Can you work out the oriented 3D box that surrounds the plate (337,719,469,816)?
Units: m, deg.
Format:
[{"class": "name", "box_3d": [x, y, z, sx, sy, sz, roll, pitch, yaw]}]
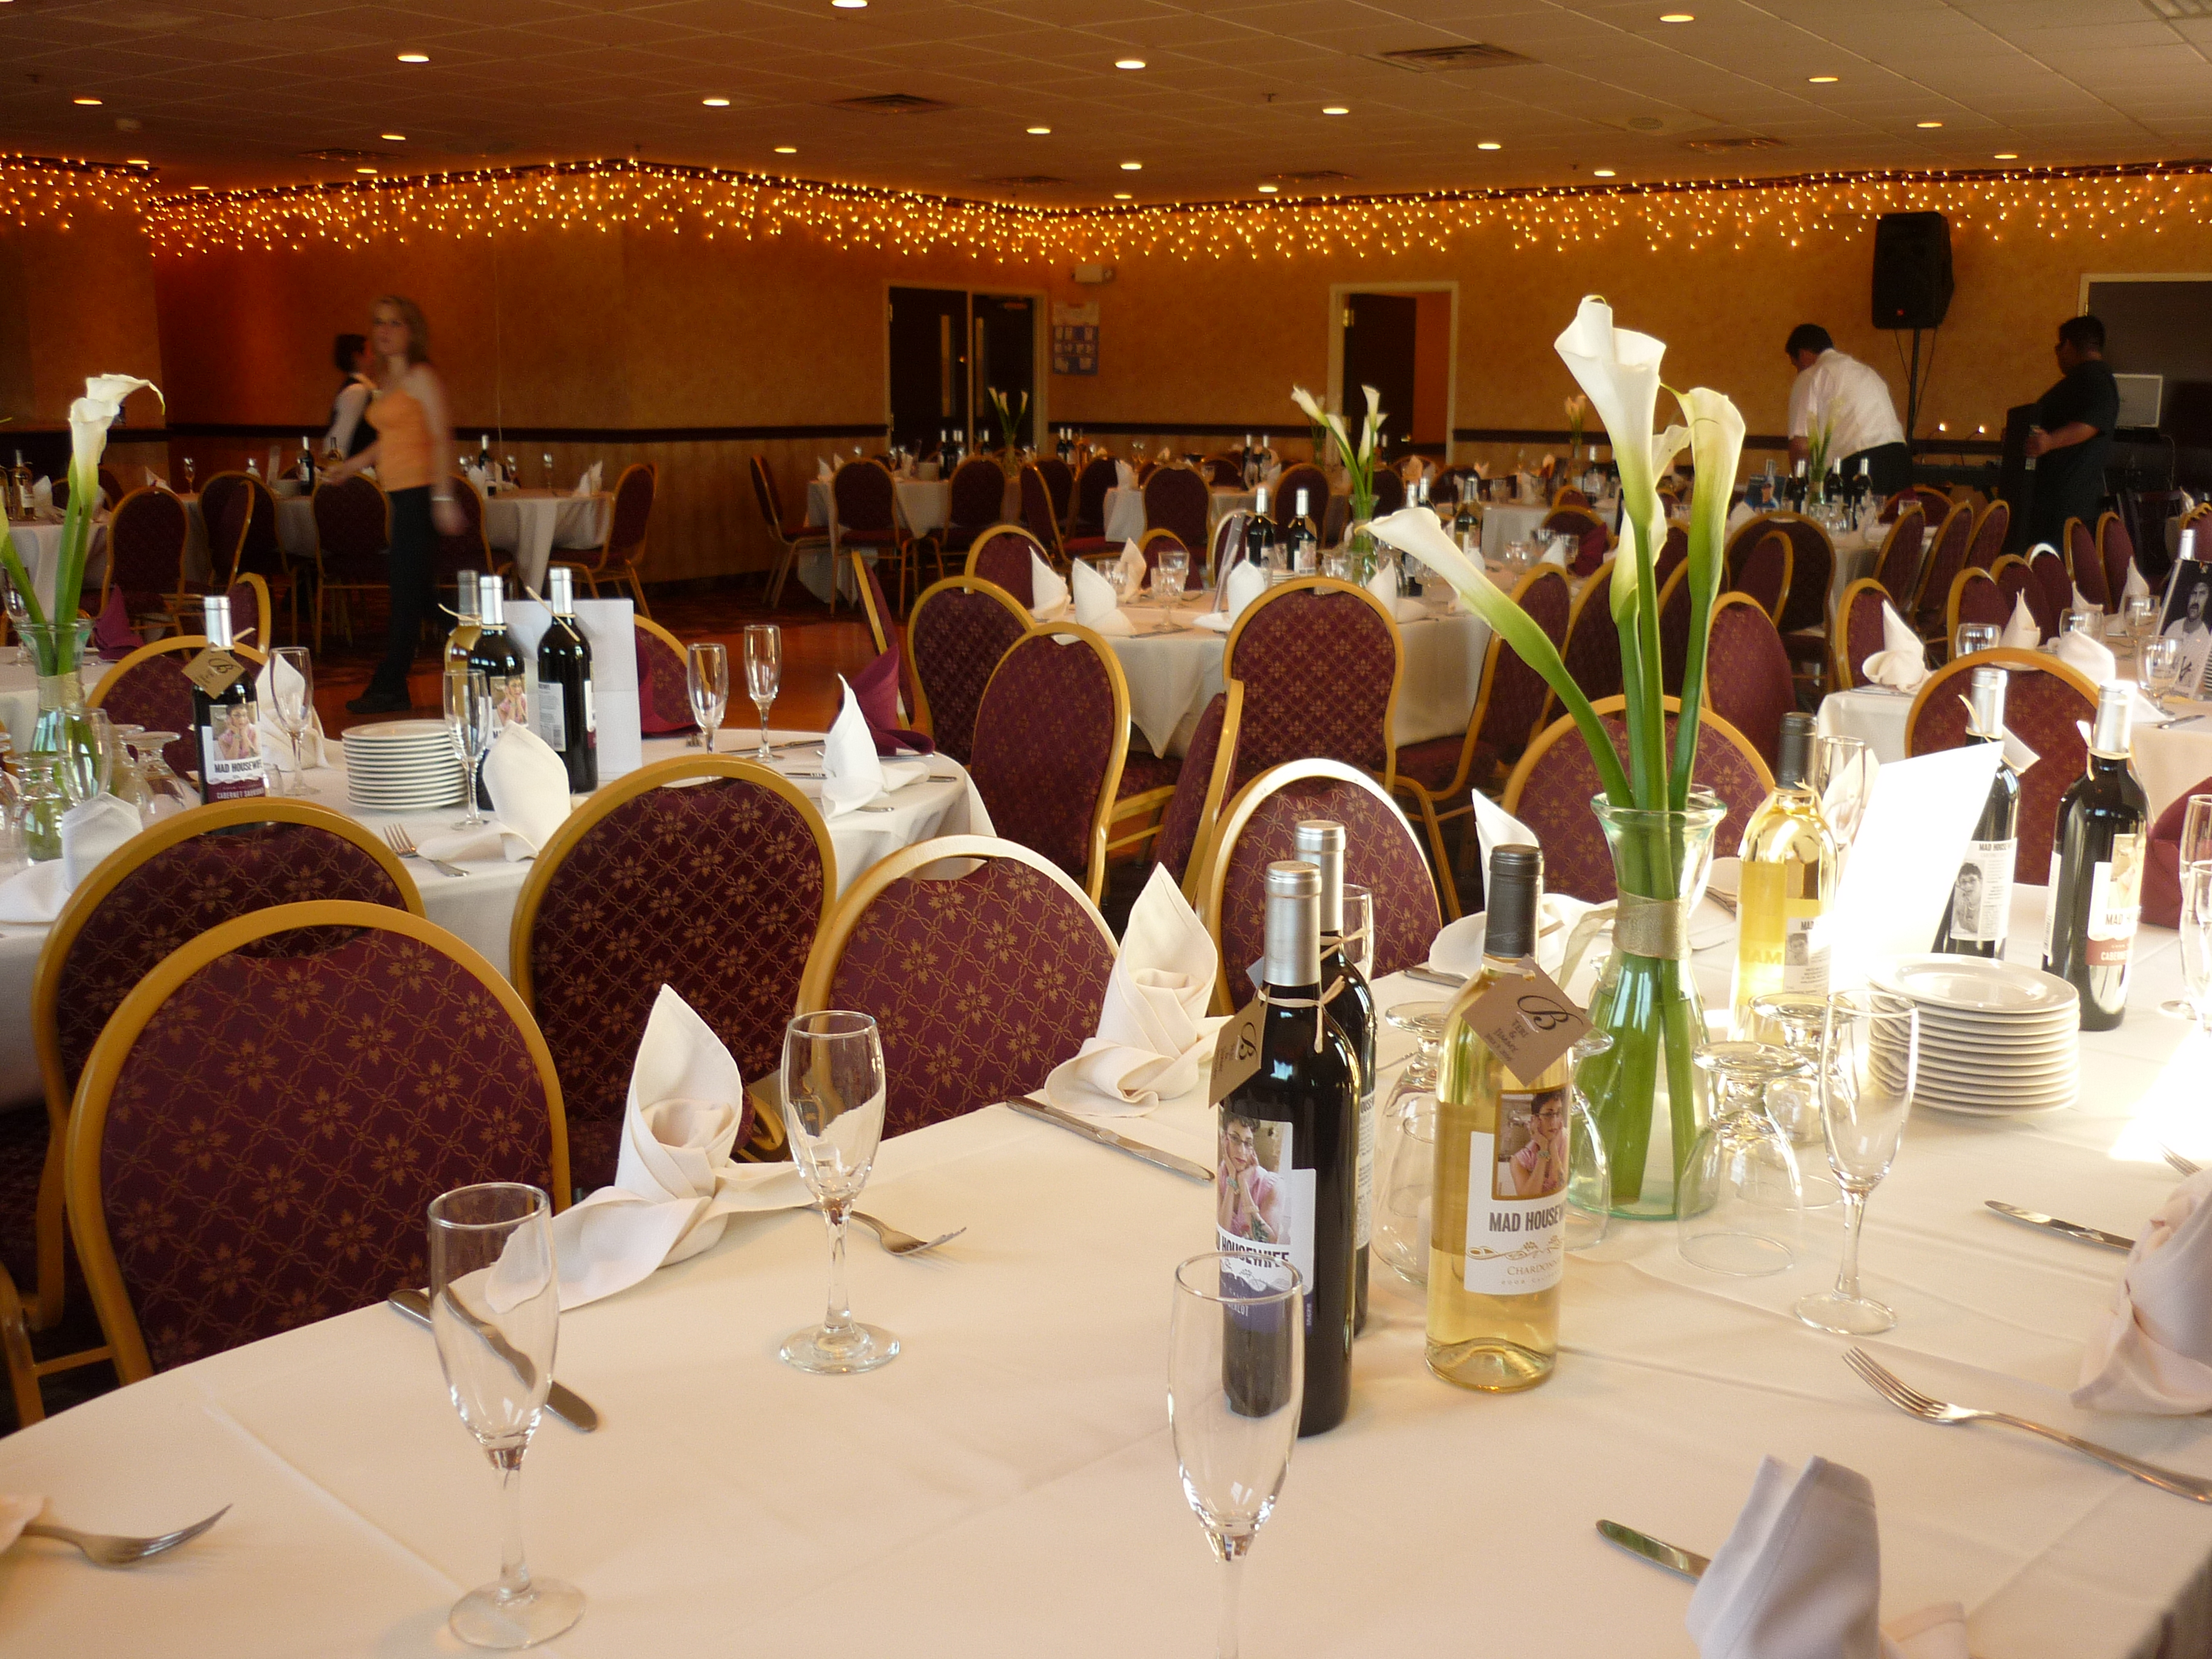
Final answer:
[{"class": "plate", "box_3d": [-1.294, -0.103, 3.083, 0.171, 0.124, 0.181, 2, 3, 36]}]

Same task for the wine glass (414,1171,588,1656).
[{"class": "wine glass", "box_3d": [-0.389, 0.346, 1.080, 0.078, 0.250, 0.214, -5, 11, -20]}]

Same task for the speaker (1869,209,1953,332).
[{"class": "speaker", "box_3d": [6.012, -4.137, 12.522, 0.604, 1.016, 0.505, 8, 18, 39]}]
